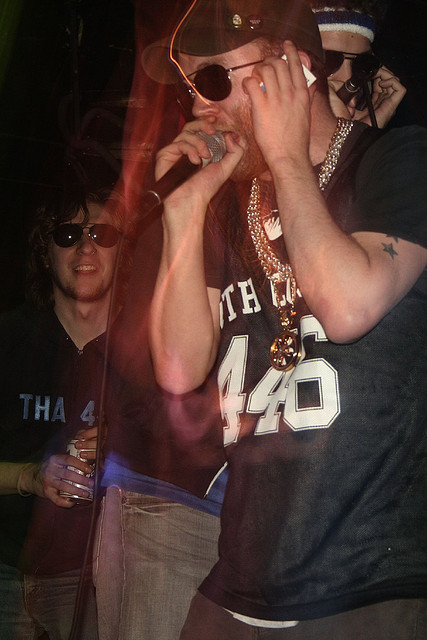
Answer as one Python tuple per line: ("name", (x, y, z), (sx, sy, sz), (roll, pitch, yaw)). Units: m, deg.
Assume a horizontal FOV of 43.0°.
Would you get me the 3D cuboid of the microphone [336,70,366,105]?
("microphone", (0.603, -1.023, 2.379), (0.158, 0.084, 0.073), (-41, 71, -14))
